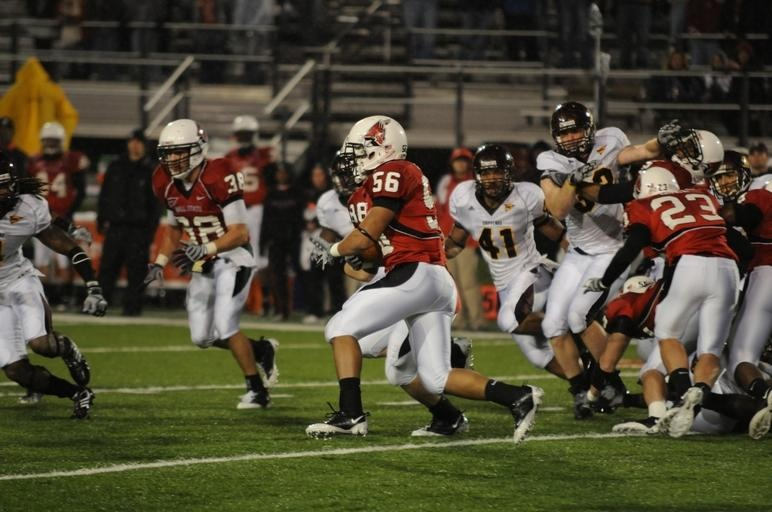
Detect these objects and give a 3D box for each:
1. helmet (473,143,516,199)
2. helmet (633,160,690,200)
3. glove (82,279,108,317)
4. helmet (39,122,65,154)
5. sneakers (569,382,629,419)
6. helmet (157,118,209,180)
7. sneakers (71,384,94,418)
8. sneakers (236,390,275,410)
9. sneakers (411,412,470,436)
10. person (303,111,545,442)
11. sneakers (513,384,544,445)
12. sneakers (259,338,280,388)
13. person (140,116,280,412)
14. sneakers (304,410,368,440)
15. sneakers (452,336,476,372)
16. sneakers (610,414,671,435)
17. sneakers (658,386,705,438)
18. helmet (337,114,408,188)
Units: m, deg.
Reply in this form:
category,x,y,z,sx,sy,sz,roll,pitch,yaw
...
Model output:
category,x,y,z,sx,sy,sz,roll,pitch,yaw
helmet,0.877,-0.696,9.853,0.336,0.403,0.440,-4,-1,7
helmet,2.141,-0.589,9.309,0.389,0.290,0.474,2,4,21
glove,-2.326,0.332,9.638,0.216,0.281,0.146,-8,-2,-4
helmet,-4.168,-1.472,15.127,0.324,0.405,0.263,-1,4,-24
sneakers,1.723,1.174,9.775,0.395,0.158,0.232,-7,24,-23
helmet,-1.685,-0.897,10.013,0.404,0.455,0.490,-3,12,13
sneakers,-2.369,1.135,9.462,0.173,0.237,0.116,8,-11,3
sneakers,-1.084,1.204,9.997,0.269,0.108,0.133,1,-6,-6
sneakers,0.437,1.289,9.229,0.490,0.179,0.159,1,-5,-14
person,0.199,0.154,9.026,1.551,2.397,0.617,1,4,10
sneakers,1.013,1.115,8.733,0.215,0.444,0.164,16,-18,6
sneakers,-1.003,0.906,10.256,0.148,0.408,0.204,-9,-17,43
person,-1.450,0.046,10.147,1.066,2.383,0.736,0,4,-3
sneakers,-0.350,1.249,8.964,0.509,0.212,0.184,3,-11,-5
sneakers,0.633,0.745,9.379,0.186,0.220,0.228,-4,4,-9
sneakers,1.921,1.255,8.985,0.409,0.155,0.147,1,-14,8
sneakers,2.165,1.132,8.824,0.266,0.397,0.171,42,2,-10
helmet,-0.097,-0.850,9.350,0.549,0.439,0.429,-1,11,17
